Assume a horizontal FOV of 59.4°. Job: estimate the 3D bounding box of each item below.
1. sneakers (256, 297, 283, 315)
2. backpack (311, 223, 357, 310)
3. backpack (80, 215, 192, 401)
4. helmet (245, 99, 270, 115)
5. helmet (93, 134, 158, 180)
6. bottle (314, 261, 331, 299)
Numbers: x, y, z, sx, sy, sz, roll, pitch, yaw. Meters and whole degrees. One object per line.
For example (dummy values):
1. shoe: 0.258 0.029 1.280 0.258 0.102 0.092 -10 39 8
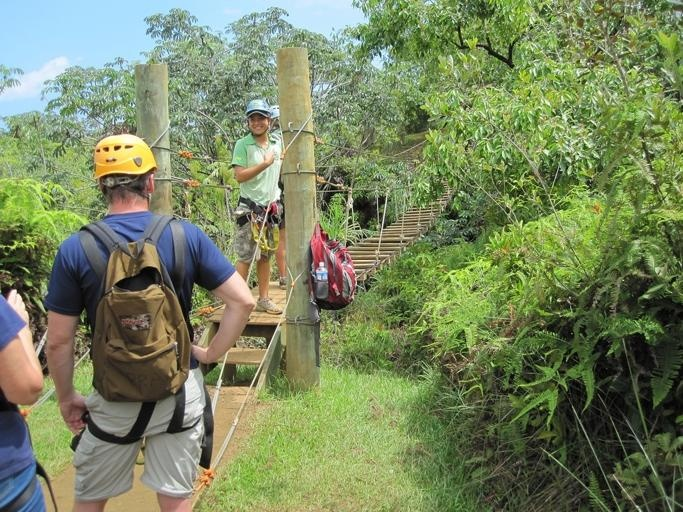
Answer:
1. sneakers: -0.783 0.507 6.448 0.311 0.162 0.132 9 16 20
2. backpack: -0.074 0.125 5.596 0.360 0.757 0.538 1 2 18
3. backpack: -1.031 0.274 3.060 0.517 0.899 0.361 -6 13 -16
4. helmet: -0.822 -1.491 5.977 0.167 0.132 0.251 -1 0 -3
5. helmet: -1.200 -0.539 3.266 0.261 0.224 0.354 -6 3 5
6. bottle: -0.175 0.219 5.390 0.120 0.340 0.079 -3 13 -1
